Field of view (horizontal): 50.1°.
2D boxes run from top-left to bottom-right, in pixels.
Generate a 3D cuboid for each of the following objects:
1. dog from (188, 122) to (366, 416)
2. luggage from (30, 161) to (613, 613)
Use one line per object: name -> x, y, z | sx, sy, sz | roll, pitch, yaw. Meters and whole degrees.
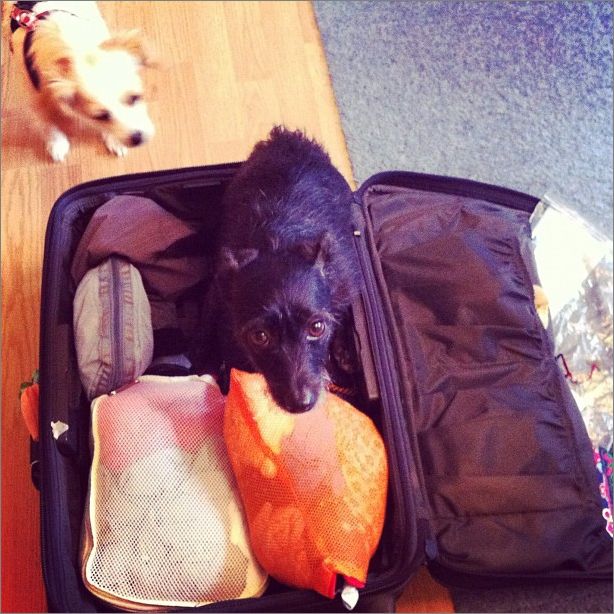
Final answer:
dog -> -0.030, -0.052, 1.066 | 0.246, 0.292, 0.577 | -5, 52, 6
luggage -> -0.005, 0.105, 1.069 | 0.715, 0.296, 0.662 | -1, 79, 0
